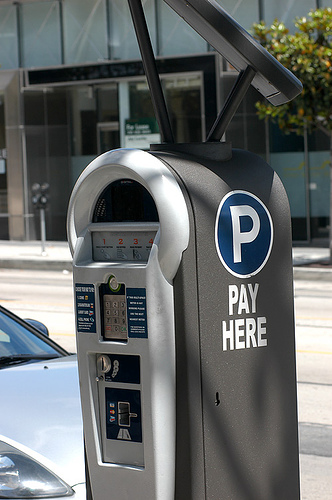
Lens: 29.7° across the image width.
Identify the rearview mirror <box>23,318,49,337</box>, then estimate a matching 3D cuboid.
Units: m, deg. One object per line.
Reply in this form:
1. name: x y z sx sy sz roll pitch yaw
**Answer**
1. rearview mirror: -0.923 0.520 4.407 0.130 0.166 0.157 5 10 -15
